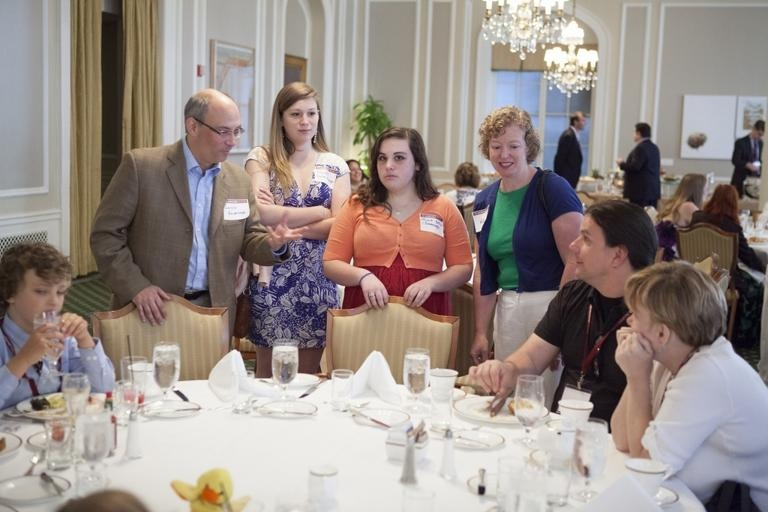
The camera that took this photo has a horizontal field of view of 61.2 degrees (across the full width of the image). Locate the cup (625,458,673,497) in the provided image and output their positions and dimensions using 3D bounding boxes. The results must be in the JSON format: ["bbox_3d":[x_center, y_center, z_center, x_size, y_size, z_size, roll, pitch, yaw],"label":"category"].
[{"bbox_3d":[0.856,0.704,2.113,0.129,0.105,0.115,2,-1,-11],"label":"cup"}]

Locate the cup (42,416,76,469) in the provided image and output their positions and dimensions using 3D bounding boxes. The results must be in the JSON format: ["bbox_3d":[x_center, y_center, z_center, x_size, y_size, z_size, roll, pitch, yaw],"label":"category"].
[{"bbox_3d":[-1.123,0.631,2.244,0.099,0.159,0.149,-7,15,-28],"label":"cup"}]

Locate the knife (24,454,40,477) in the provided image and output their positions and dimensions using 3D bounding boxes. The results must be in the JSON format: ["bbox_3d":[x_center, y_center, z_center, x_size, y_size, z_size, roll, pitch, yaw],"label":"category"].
[{"bbox_3d":[-1.202,0.716,2.222,0.022,0.014,0.078,2,23,-3],"label":"knife"}]
